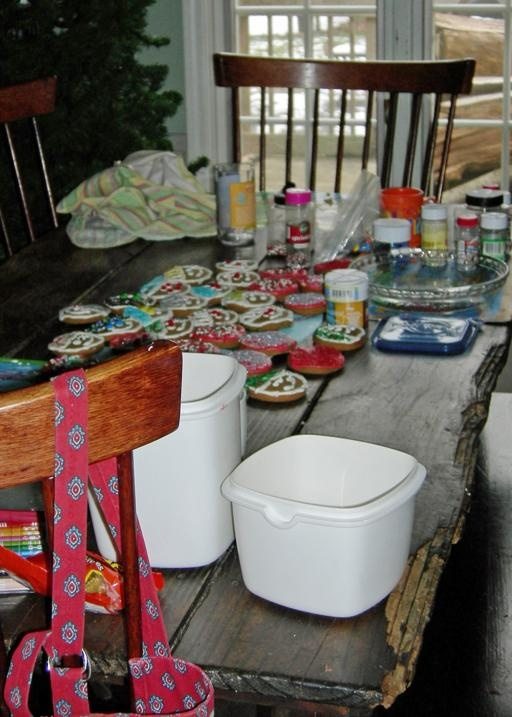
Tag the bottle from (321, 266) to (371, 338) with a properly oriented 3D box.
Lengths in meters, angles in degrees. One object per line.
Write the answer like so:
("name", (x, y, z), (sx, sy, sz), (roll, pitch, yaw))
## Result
("bottle", (0.138, -0.078, 0.957), (0.073, 0.099, 0.067), (-4, 28, 2))
